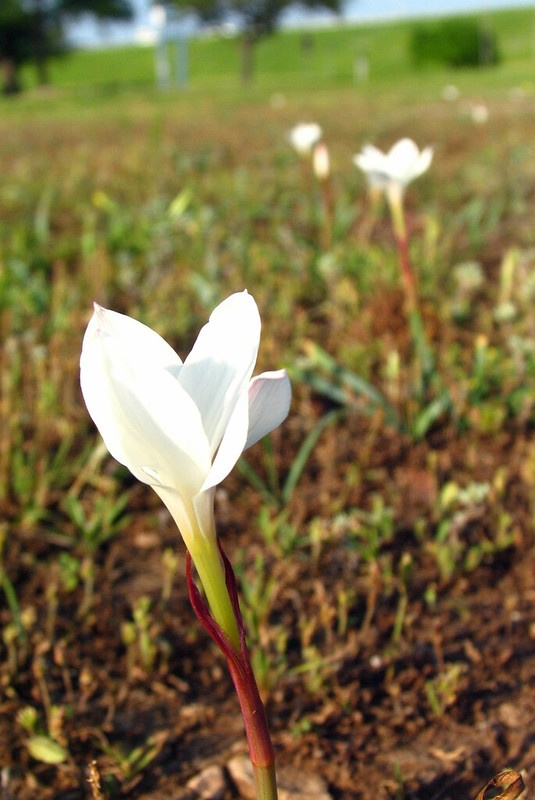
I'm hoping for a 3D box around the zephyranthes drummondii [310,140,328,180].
[{"bbox_3d":[0.109,-0.495,1.535,0.036,0.066,0.035,3,-2,7],"label":"zephyranthes drummondii"}]

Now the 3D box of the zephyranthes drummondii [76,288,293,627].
[{"bbox_3d":[-0.062,0.062,0.704,0.185,0.323,0.130,-8,19,4],"label":"zephyranthes drummondii"}]

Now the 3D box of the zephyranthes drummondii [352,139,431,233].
[{"bbox_3d":[0.274,-0.464,1.613,0.134,0.191,0.253,-10,17,-2],"label":"zephyranthes drummondii"}]
